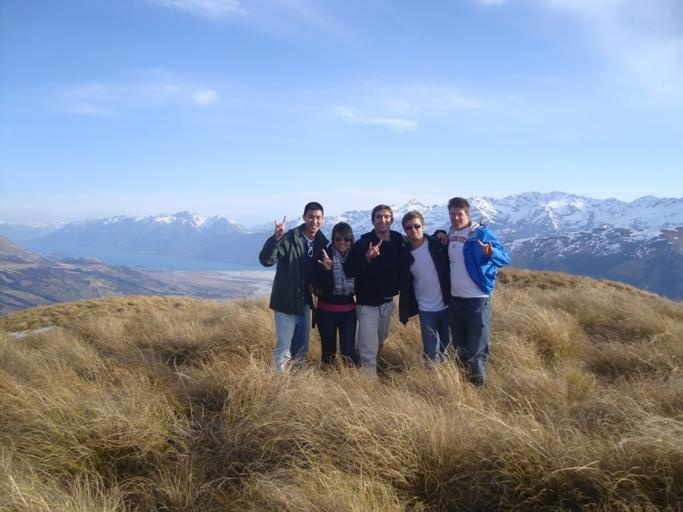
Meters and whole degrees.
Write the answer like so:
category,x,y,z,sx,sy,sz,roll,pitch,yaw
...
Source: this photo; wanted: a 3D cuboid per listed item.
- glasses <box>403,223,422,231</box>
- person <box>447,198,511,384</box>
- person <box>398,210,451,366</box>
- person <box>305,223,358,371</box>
category,x,y,z,sx,sy,sz,roll,pitch,yaw
glasses,1.196,-0.473,7.823,0.280,0.115,0.177,-3,-3,10
person,2.158,0.488,7.455,0.893,2.882,0.770,-3,-4,20
person,1.395,0.486,7.850,0.858,2.451,0.556,-2,-3,7
person,-0.108,0.620,7.929,0.732,2.342,0.363,-2,-3,1
